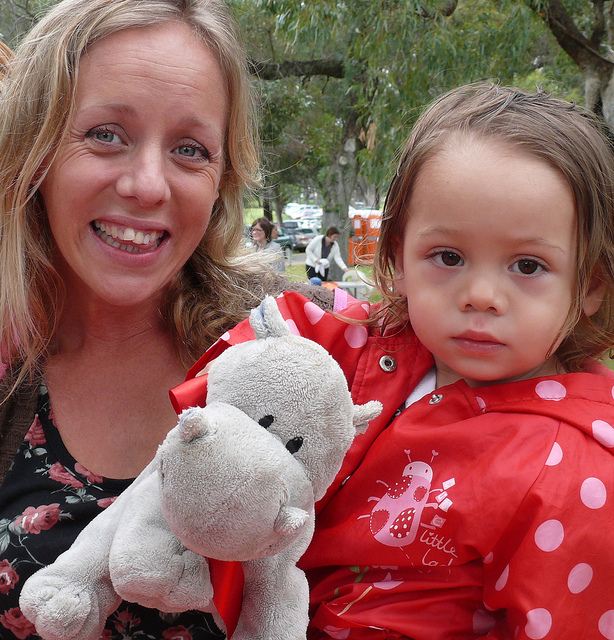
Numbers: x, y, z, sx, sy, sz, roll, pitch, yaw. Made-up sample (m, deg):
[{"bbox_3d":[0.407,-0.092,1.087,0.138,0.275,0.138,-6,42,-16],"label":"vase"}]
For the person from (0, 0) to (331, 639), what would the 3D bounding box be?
[{"bbox_3d":[-0.495,-0.063,2.144,0.980,1.617,0.615,-10,22,-39],"label":"person"}]

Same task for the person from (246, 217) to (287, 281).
[{"bbox_3d":[-0.564,-1.076,10.336,0.432,0.298,1.077,16,17,3],"label":"person"}]

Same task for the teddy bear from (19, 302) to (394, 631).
[{"bbox_3d":[-0.206,0.327,1.624,0.629,0.644,0.473,33,29,-3],"label":"teddy bear"}]
